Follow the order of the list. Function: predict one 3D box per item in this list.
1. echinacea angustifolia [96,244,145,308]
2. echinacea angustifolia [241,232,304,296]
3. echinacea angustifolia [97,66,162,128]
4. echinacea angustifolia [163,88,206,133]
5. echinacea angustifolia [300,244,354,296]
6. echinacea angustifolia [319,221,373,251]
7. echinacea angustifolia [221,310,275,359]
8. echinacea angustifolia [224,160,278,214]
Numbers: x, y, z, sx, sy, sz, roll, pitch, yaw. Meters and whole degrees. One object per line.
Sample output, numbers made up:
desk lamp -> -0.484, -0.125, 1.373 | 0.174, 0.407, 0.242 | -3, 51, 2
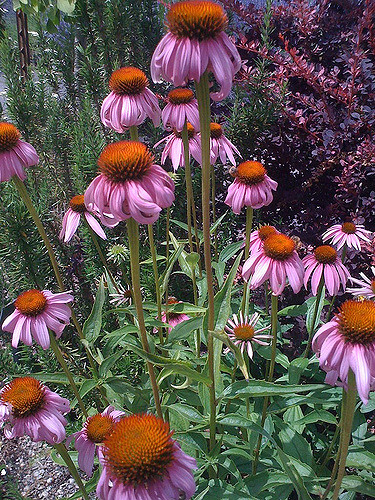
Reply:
echinacea angustifolia -> -0.458, 0.167, 2.874 | 0.290, 0.346, 0.286 | 34, 56, 20
echinacea angustifolia -> 0.404, 0.053, 2.042 | 0.298, 0.162, 0.286 | 6, 40, 4
echinacea angustifolia -> -0.267, -0.742, 2.132 | 0.272, 0.201, 0.262 | -11, 17, 46
echinacea angustifolia -> -0.024, -0.785, 2.445 | 0.347, 0.204, 0.333 | 3, 32, -4
echinacea angustifolia -> 0.776, 0.103, 2.473 | 0.309, 0.184, 0.299 | 1, 20, 0
echinacea angustifolia -> 0.995, -0.092, 2.722 | 0.266, 0.085, 0.258 | 1, 26, 15
echinacea angustifolia -> 0.301, 0.447, 2.298 | 0.305, 0.095, 0.314 | -15, 15, -1
echinacea angustifolia -> 0.320, -0.371, 2.496 | 0.357, 0.213, 0.357 | -6, 20, -4
